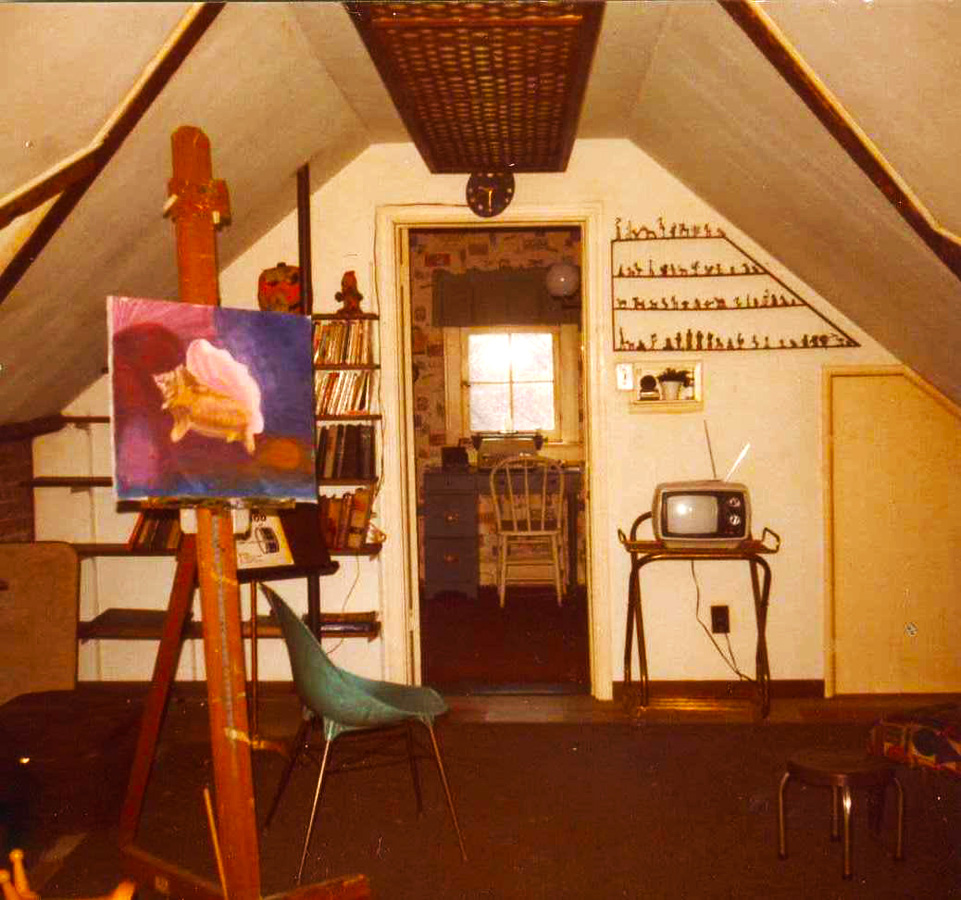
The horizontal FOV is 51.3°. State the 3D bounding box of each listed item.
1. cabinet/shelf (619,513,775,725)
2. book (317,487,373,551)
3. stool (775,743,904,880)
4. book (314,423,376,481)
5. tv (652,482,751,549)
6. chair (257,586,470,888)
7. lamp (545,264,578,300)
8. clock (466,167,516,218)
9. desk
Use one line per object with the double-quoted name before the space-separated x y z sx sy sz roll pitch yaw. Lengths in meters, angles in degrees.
"cabinet/shelf" 0.990 0.696 4.608 0.657 0.846 0.729 2 6 17
"book" -0.580 0.310 4.434 0.234 0.362 0.249 -2 -7 -2
"stool" 1.123 1.124 3.136 0.375 0.320 0.398 -2 -5 12
"book" -0.602 0.014 4.484 0.217 0.314 0.311 -1 -1 1
"tv" 0.960 0.262 4.320 0.375 0.285 0.263 -1 -4 7
"chair" -0.461 0.894 3.625 0.824 1.213 0.770 -1 -1 -12
"lamp" 0.446 -0.913 5.367 0.172 0.181 0.186 -1 7 4
"clock" 0.047 -1.150 4.492 0.211 0.202 0.150 -2 7 -3
"desk" 0.128 0.522 6.875 1.055 0.859 0.629 -1 6 -9
